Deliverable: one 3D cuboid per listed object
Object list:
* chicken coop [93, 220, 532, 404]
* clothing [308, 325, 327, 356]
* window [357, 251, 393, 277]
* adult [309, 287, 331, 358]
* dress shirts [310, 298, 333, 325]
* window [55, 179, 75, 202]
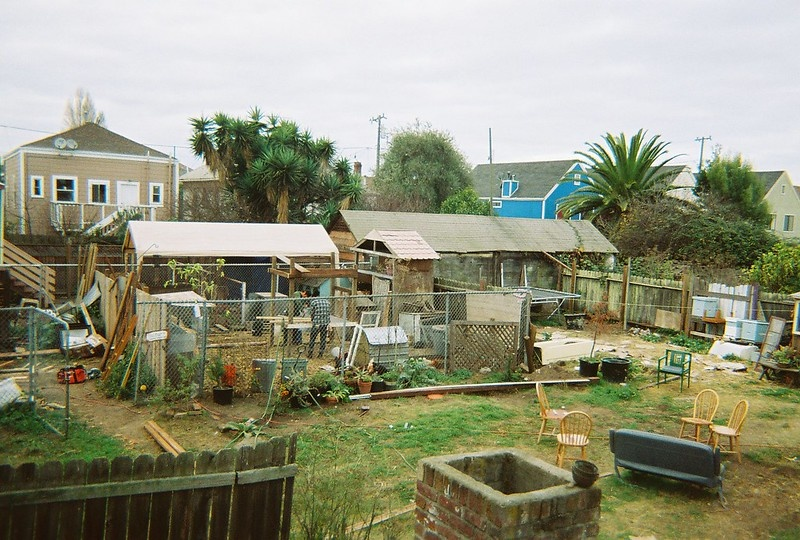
[{"bbox_3d":[-2.968,0.632,24.412,13.902,4.400,12.295,0,3,10],"label":"chicken coop"},{"bbox_3d":[-2.377,2.062,22.786,0.232,0.934,0.698,2,5,37],"label":"clothing"},{"bbox_3d":[-0.793,-0.197,27.601,0.996,0.437,0.971,-4,19,-42],"label":"window"},{"bbox_3d":[-2.197,1.459,22.991,0.606,2.001,0.559,8,14,-11],"label":"adult"},{"bbox_3d":[-2.296,1.228,22.825,0.540,0.827,0.869,-1,3,-7],"label":"dress shirts"},{"bbox_3d":[-14.545,-3.473,33.869,1.012,1.225,0.116,-2,-2,-41],"label":"window"}]
